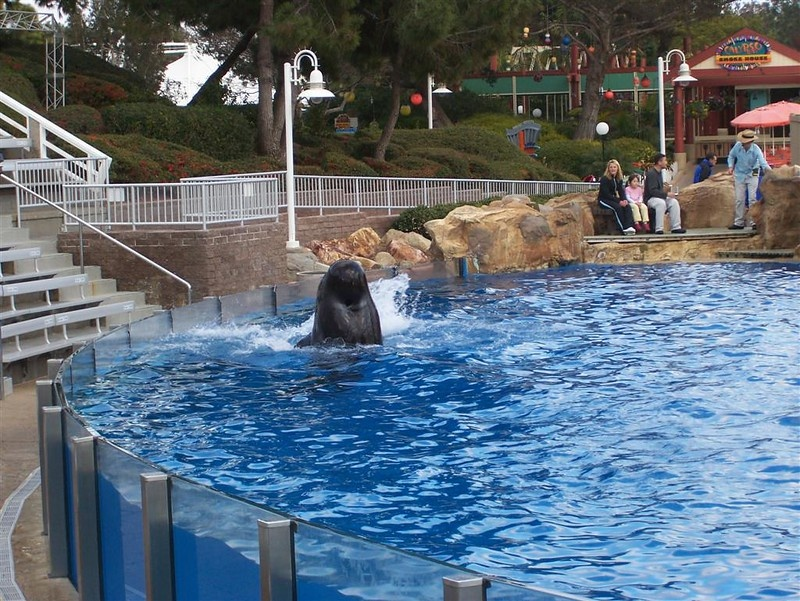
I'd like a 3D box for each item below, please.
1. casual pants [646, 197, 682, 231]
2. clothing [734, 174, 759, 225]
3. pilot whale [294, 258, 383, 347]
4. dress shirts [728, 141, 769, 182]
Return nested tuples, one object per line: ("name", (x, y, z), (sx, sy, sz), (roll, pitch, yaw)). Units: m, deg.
("casual pants", (5.939, -1.837, 29.411), (0.764, 0.863, 0.770), (-1, -5, -15))
("clothing", (7.280, -2.113, 28.467), (0.514, 1.141, 0.349), (2, 3, 23))
("pilot whale", (-0.786, -0.044, 19.786), (1.236, 1.208, 1.145), (9, 16, 32))
("dress shirts", (7.165, -2.888, 27.941), (0.844, 0.742, 0.607), (2, 5, 38))
